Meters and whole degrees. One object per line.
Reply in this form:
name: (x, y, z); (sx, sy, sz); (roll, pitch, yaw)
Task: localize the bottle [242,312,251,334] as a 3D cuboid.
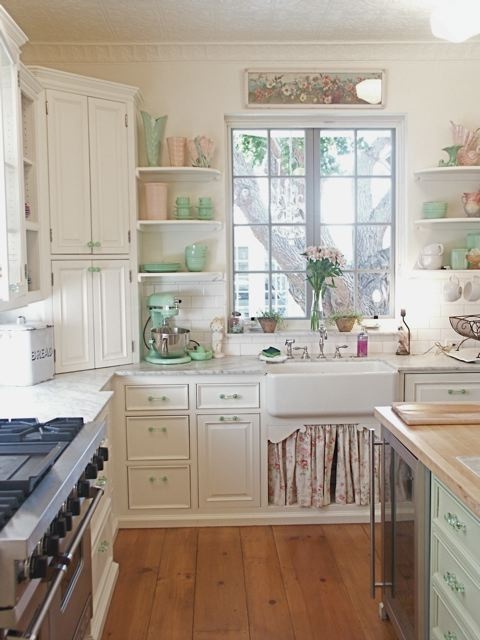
bottle: (0.044, 0.018, 3.714); (0.055, 0.123, 0.162); (-1, 4, 0)

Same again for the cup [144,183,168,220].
cup: (-0.514, -0.709, 3.343); (0.144, 0.214, 0.087); (0, 5, 12)

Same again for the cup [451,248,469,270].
cup: (1.384, -0.380, 3.497); (0.121, 0.130, 0.119); (1, -1, 0)

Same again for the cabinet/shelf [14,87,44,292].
cabinet/shelf: (-1.028, -0.622, 2.745); (0.096, 1.035, 0.305); (-2, 5, -10)

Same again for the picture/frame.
picture/frame: (0.474, -1.456, 3.500); (0.868, 0.217, 0.018); (-1, 4, -2)

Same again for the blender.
blender: (-0.444, 0.041, 3.383); (0.260, 0.414, 0.416); (-1, 5, -24)

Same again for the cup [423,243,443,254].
cup: (1.243, -0.455, 3.548); (0.138, 0.077, 0.111); (-2, 5, -13)

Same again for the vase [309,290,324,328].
vase: (0.505, -0.060, 3.663); (0.086, 0.260, 0.290); (0, 4, 7)

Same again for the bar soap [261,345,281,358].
bar soap: (0.183, 0.198, 3.364); (0.110, 0.044, 0.159); (-2, 5, -18)

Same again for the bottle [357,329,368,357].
bottle: (0.772, 0.154, 3.498); (0.061, 0.155, 0.108); (0, 5, 10)

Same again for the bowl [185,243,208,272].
bowl: (-0.273, -0.387, 3.501); (0.164, 0.214, 0.160); (1, 1, 0)

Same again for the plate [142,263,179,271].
plate: (-0.493, -0.319, 3.405); (0.226, 0.061, 0.226); (-2, 5, -10)

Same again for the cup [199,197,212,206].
cup: (-0.217, -0.725, 3.400); (0.052, 0.038, 0.052); (0, 7, 0)

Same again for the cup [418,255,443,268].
cup: (1.210, -0.368, 3.544); (0.102, 0.071, 0.084); (-1, 1, 20)

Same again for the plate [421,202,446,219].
plate: (1.223, -0.682, 3.516); (0.132, 0.095, 0.133); (-2, 4, -29)

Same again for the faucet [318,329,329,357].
faucet: (0.531, 0.141, 3.544); (0.061, 0.188, 0.208); (0, 4, 8)

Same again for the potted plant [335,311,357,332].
potted plant: (0.702, 0.020, 3.671); (0.151, 0.125, 0.109); (0, 5, 11)

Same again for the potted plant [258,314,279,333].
potted plant: (0.182, 0.023, 3.594); (0.114, 0.092, 0.115); (0, 3, 12)

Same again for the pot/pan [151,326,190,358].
pot/pan: (-0.411, 0.130, 3.302); (0.166, 0.136, 0.206); (0, 5, 10)

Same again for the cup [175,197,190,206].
cup: (-0.356, -0.722, 3.382); (0.069, 0.049, 0.069); (2, 4, 0)

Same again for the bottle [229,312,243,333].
bottle: (-0.028, 0.019, 3.675); (0.104, 0.134, 0.164); (-1, 4, -1)
